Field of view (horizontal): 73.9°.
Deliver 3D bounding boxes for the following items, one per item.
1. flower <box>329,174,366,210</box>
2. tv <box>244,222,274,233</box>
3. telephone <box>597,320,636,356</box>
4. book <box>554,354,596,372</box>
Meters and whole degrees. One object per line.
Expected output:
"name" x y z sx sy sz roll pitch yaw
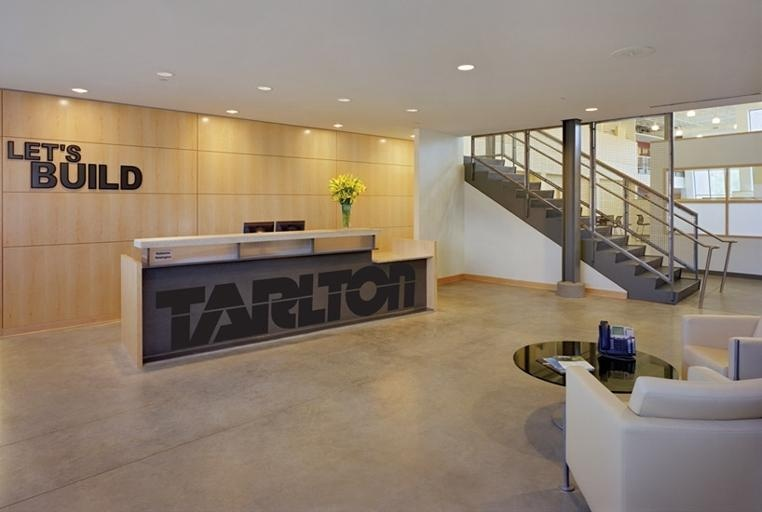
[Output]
"flower" -0.488 -0.932 7.311 0.390 0.402 0.335 2 14 8
"tv" -1.659 -0.393 6.994 0.189 0.124 0.414 10 17 35
"telephone" 2.300 0.820 4.963 0.309 0.295 0.262 2 -8 14
"book" 1.767 0.981 4.697 0.267 0.062 0.272 -2 8 -13
